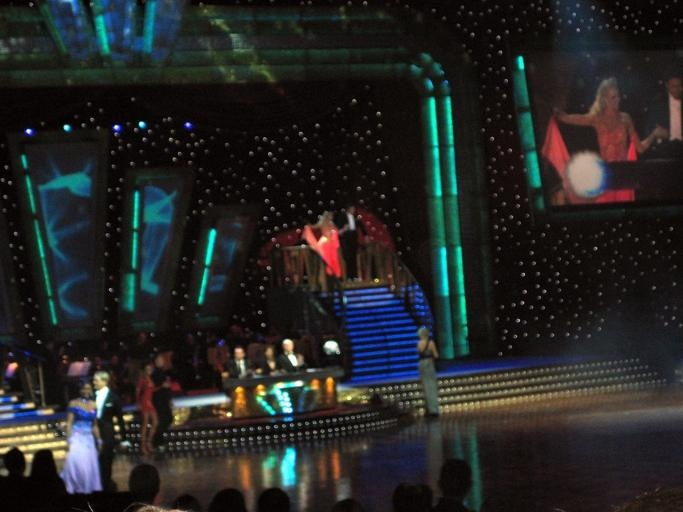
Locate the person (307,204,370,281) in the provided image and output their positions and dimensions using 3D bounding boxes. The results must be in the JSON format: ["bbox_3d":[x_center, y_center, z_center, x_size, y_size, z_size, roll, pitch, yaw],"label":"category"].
[{"bbox_3d":[-0.036,-0.196,18.092,1.571,1.794,0.925,-11,10,-44],"label":"person"}]
